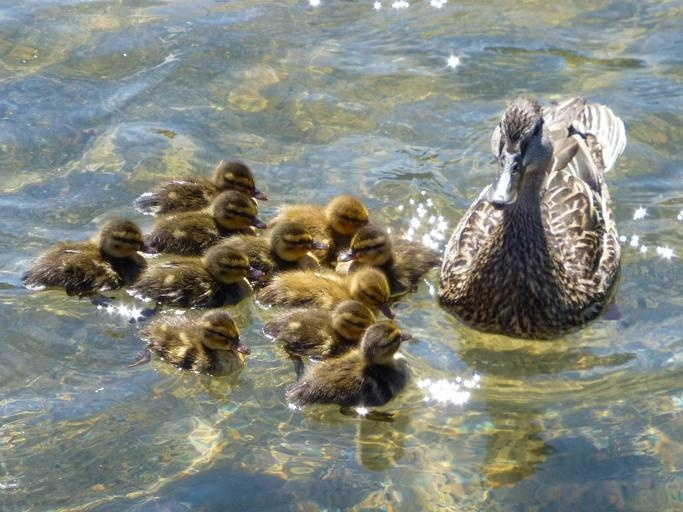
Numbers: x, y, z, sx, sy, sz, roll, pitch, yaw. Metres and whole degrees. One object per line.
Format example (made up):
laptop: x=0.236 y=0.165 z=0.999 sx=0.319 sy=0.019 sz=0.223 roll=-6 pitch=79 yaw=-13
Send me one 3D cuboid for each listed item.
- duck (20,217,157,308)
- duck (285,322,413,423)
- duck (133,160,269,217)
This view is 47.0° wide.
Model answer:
duck: x=-2.053 y=0.063 z=6.495 sx=1.076 sy=0.620 sz=0.587 roll=2 pitch=32 yaw=-17
duck: x=0.076 y=0.820 z=5.808 sx=1.033 sy=0.593 sz=0.546 roll=-5 pitch=33 yaw=-14
duck: x=-1.340 y=-0.593 z=7.327 sx=1.563 sy=0.566 sz=0.445 roll=-5 pitch=39 yaw=-7
